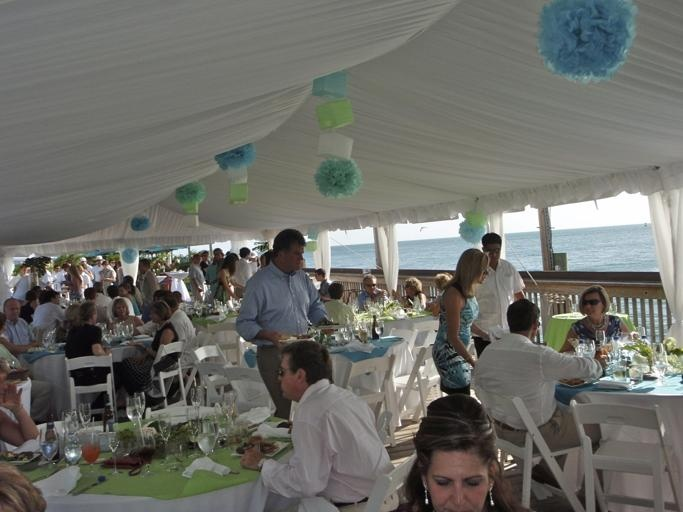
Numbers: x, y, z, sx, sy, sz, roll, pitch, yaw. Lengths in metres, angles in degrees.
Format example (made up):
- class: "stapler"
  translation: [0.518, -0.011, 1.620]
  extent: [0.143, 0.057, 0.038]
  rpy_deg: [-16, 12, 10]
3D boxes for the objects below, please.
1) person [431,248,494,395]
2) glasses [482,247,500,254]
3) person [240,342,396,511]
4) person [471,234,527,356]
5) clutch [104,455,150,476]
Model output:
- class: "person"
  translation: [1.160, 0.918, 4.940]
  extent: [0.583, 1.883, 0.577]
  rpy_deg: [4, 12, 32]
- class: "glasses"
  translation: [1.806, -0.056, 6.320]
  extent: [0.163, 0.120, 0.223]
  rpy_deg: [0, -3, 3]
- class: "person"
  translation: [-0.073, 0.993, 3.117]
  extent: [0.722, 0.952, 0.402]
  rpy_deg: [-2, -5, 7]
- class: "person"
  translation: [1.891, 0.741, 6.391]
  extent: [0.746, 1.996, 0.632]
  rpy_deg: [0, -2, 8]
- class: "clutch"
  translation: [-1.281, 1.261, 3.157]
  extent: [0.125, 0.041, 0.132]
  rpy_deg: [1, -4, 8]
